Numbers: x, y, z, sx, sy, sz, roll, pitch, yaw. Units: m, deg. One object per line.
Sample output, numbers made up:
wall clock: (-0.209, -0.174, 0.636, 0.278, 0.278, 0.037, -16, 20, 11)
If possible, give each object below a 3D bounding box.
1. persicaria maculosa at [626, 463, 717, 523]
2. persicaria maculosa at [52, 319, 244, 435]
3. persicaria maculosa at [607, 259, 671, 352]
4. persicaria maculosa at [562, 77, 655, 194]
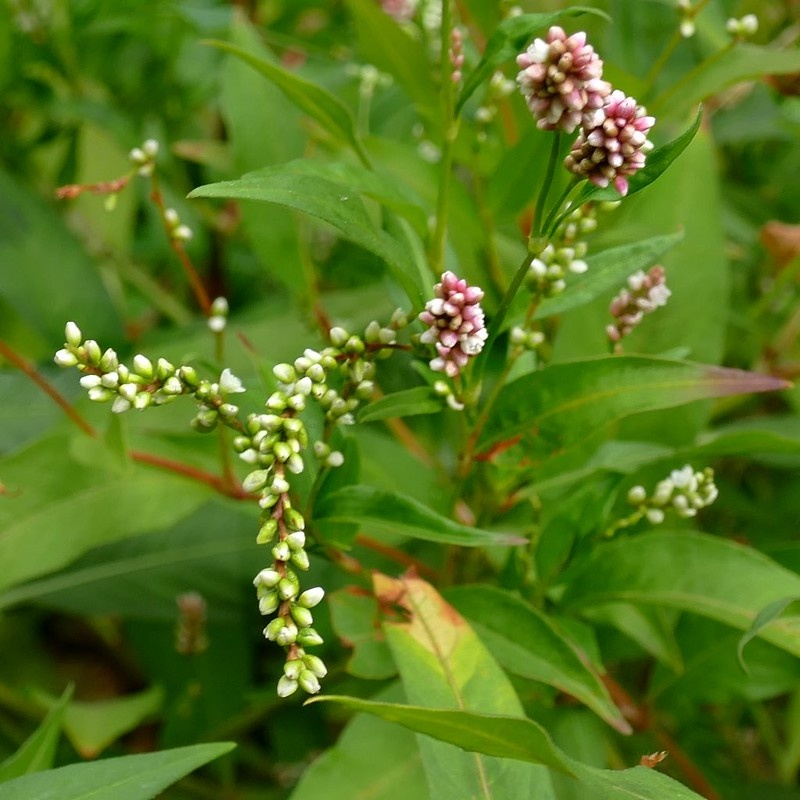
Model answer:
persicaria maculosa: (0.196, 0.069, 0.667, 0.071, 0.029, 0.033, -13, 37, 16)
persicaria maculosa: (-0.165, -0.013, 0.609, 0.035, 0.131, 0.043, -60, 33, 20)
persicaria maculosa: (0.179, -0.067, 0.699, 0.049, 0.062, 0.039, -12, 45, 8)
persicaria maculosa: (0.130, -0.159, 0.575, 0.052, 0.059, 0.047, 14, 18, -12)
